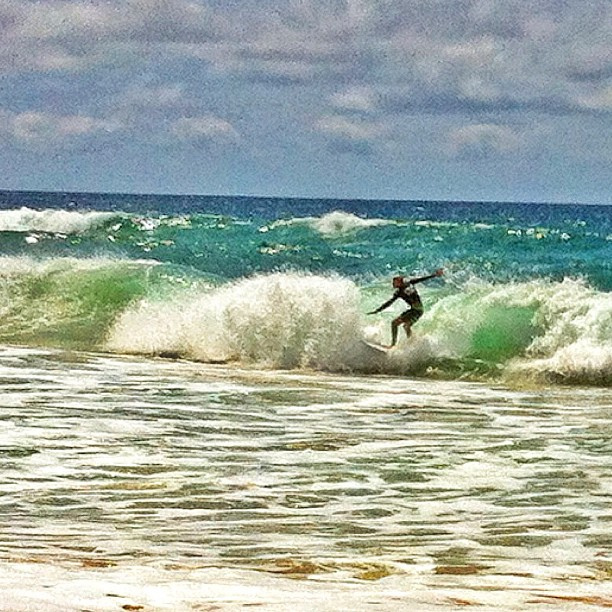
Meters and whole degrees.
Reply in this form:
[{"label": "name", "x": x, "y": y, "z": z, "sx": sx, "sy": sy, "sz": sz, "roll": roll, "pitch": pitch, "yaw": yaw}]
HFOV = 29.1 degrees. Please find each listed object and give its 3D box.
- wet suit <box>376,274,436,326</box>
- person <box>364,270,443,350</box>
[{"label": "wet suit", "x": 1.466, "y": -0.092, "z": 16.989, "sx": 0.544, "sy": 0.801, "sz": 0.744, "roll": 13, "pitch": 16, "yaw": 31}, {"label": "person", "x": 1.435, "y": 0.066, "z": 17.030, "sx": 0.519, "sy": 1.076, "sz": 1.443, "roll": 25, "pitch": -32, "yaw": -29}]
